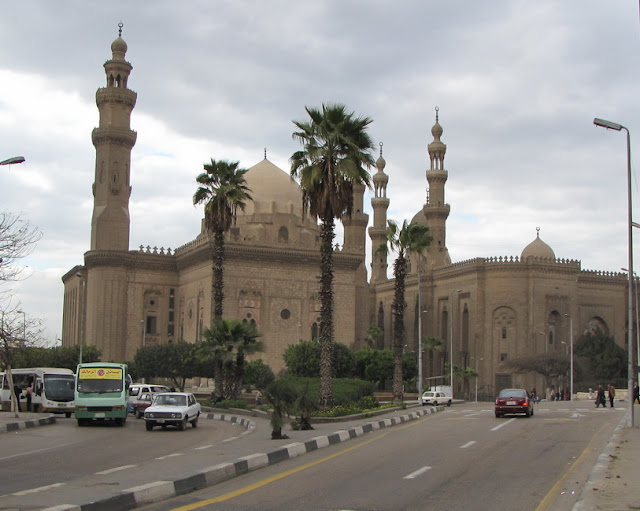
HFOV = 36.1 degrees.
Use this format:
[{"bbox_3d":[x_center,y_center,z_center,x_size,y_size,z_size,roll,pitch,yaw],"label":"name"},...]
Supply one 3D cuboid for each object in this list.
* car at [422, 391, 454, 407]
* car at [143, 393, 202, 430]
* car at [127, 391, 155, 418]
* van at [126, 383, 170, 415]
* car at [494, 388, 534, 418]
[{"bbox_3d":[7.330,8.984,62.031,1.369,0.922,4.216,-3,-10,14],"label":"car"},{"bbox_3d":[-5.411,5.715,36.368,1.443,1.294,3.136,0,-4,6],"label":"car"},{"bbox_3d":[-7.904,6.568,43.850,1.005,0.884,1.753,0,3,7],"label":"car"},{"bbox_3d":[-7.899,6.453,44.760,1.607,1.614,3.168,3,-11,-28],"label":"van"},{"bbox_3d":[7.616,5.788,38.678,1.401,1.125,1.687,-2,-10,10],"label":"car"}]
